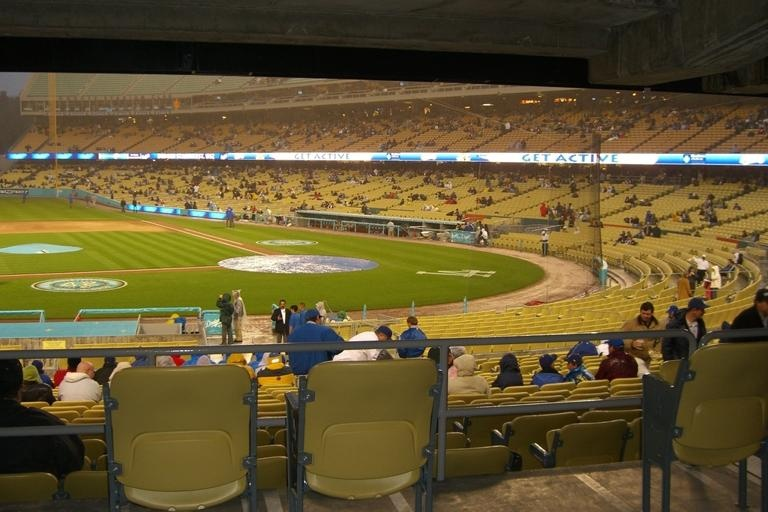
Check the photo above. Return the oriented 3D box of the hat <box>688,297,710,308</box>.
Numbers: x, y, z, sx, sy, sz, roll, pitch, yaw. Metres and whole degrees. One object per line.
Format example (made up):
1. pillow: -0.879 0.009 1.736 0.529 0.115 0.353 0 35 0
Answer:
1. hat: 3.300 0.504 7.634 0.164 0.110 0.247 1 -2 19
